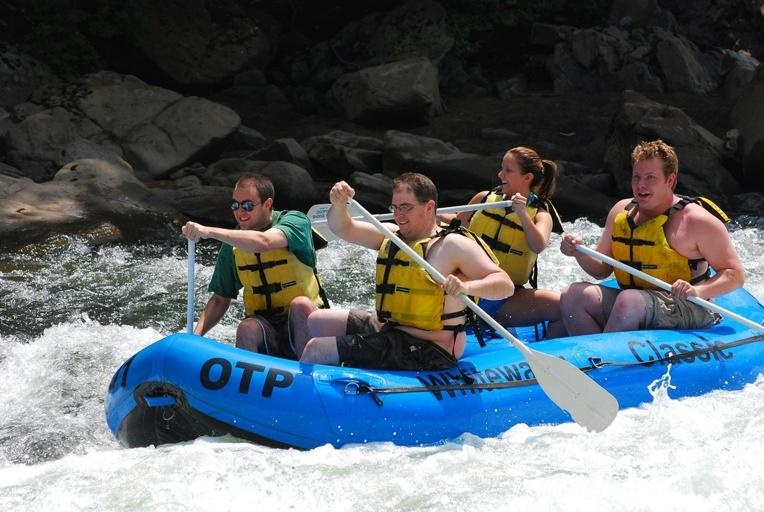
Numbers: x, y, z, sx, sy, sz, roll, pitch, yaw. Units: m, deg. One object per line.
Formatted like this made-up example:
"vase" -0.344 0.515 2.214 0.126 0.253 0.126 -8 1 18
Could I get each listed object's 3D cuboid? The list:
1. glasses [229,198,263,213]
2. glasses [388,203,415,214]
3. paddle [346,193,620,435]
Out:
"glasses" -1.057 -0.402 5.786 0.257 0.109 0.128 -3 17 -4
"glasses" 0.150 -0.360 5.473 0.153 0.049 0.157 1 1 25
"paddle" 0.781 0.490 5.765 3.122 0.417 0.128 42 17 15
